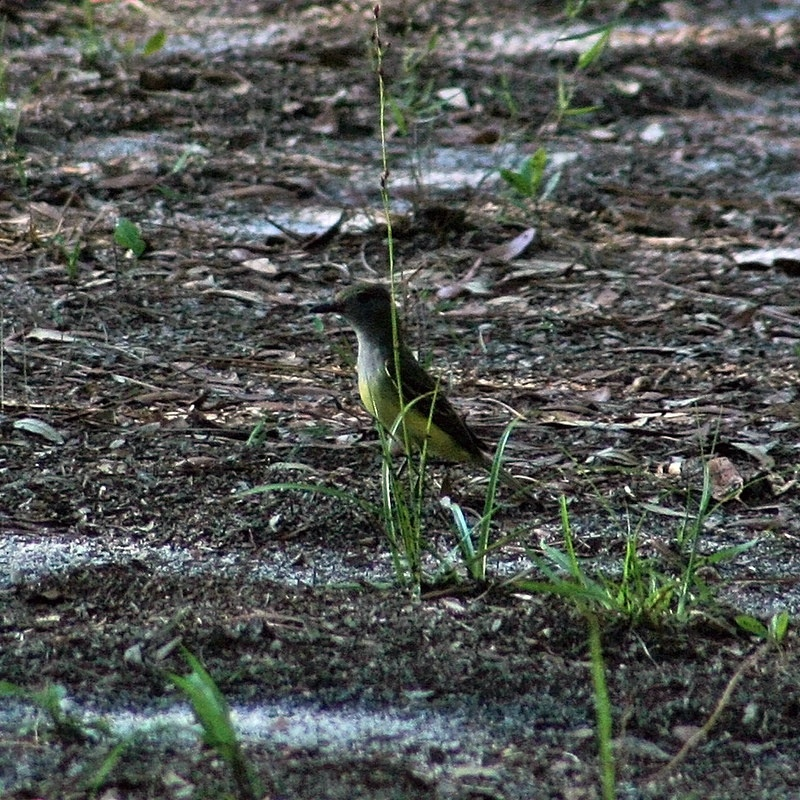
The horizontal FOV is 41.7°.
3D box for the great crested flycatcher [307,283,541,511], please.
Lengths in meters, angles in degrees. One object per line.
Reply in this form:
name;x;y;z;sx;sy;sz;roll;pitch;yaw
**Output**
great crested flycatcher;0.059;-0.029;3.237;0.425;0.629;0.695;-11;18;-19
